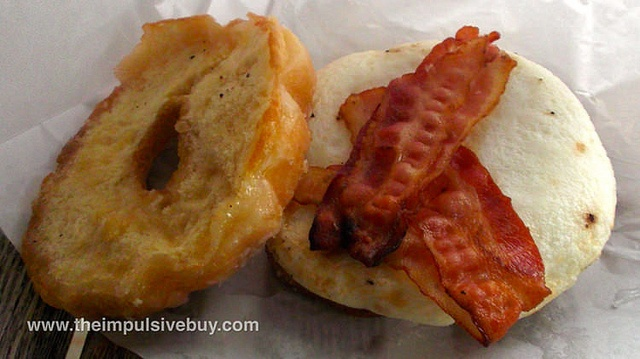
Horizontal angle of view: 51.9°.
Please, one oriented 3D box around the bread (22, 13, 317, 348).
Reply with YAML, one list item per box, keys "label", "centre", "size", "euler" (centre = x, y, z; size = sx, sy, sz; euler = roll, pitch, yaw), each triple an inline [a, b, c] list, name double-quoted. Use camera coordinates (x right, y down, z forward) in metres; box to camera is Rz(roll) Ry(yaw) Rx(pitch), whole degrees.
- label: "bread"
  centre: [-0.425, 0.041, 1.906]
  size: [1.061, 0.254, 0.838]
  euler: [12, 73, 46]
